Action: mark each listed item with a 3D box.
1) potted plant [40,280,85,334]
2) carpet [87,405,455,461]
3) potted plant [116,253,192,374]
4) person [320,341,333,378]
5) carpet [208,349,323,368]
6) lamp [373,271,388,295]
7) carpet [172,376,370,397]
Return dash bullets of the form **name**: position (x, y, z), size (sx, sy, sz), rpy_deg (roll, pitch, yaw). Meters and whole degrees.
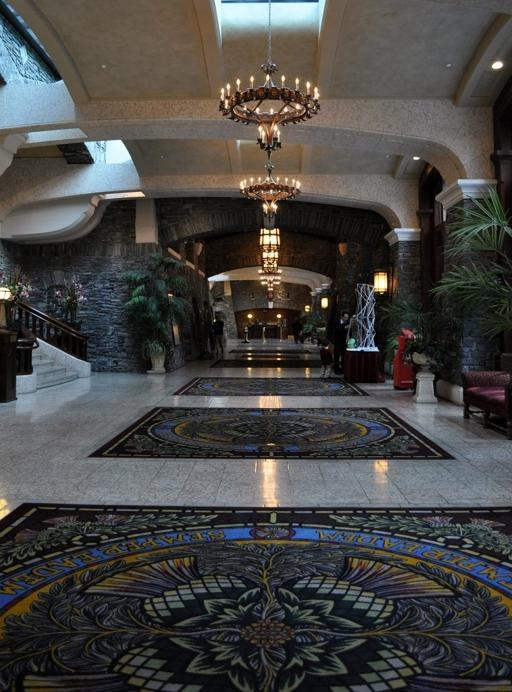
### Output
- **potted plant**: position (-5.411, -1.130, 13.428), size (1.338, 1.406, 0.668), rpy_deg (2, 2, 34)
- **carpet**: position (0.182, 1.024, 5.751), size (3.570, 0.028, 2.570), rpy_deg (0, 2, 2)
- **potted plant**: position (-2.614, -0.982, 13.570), size (1.681, 3.269, 2.496), rpy_deg (1, 2, 29)
- **person**: position (1.722, 0.332, 11.726), size (0.268, 0.895, 0.858), rpy_deg (1, 2, 7)
- **carpet**: position (0.576, 0.455, 18.469), size (3.066, 0.111, 8.815), rpy_deg (1, 2, 8)
- **lamp**: position (3.219, -1.606, 12.205), size (0.304, 0.552, 0.417), rpy_deg (1, 2, 26)
- **carpet**: position (0.284, 0.853, 10.150), size (3.651, 0.045, 3.195), rpy_deg (0, 2, 0)
